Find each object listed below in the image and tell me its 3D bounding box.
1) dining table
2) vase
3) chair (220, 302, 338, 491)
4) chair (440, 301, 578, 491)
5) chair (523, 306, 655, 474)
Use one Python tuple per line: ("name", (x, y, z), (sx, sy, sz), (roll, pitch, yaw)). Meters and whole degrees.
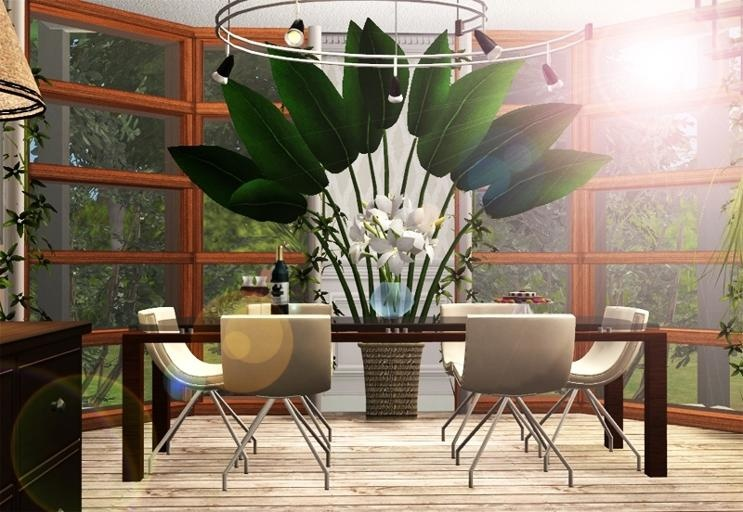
("dining table", (0.373, 0.967, 4.440), (3.056, 1.026, 0.945), (-1, -1, 4))
("vase", (0.163, 0.939, 5.131), (0.536, 0.647, 0.488), (1, 13, 6))
("chair", (-0.536, 0.903, 4.090), (0.878, 1.413, 0.968), (0, -5, -1))
("chair", (0.702, 0.901, 4.176), (0.884, 1.329, 1.018), (1, -7, -2))
("chair", (1.621, 0.931, 4.519), (0.941, 1.436, 1.029), (0, -8, 4))
